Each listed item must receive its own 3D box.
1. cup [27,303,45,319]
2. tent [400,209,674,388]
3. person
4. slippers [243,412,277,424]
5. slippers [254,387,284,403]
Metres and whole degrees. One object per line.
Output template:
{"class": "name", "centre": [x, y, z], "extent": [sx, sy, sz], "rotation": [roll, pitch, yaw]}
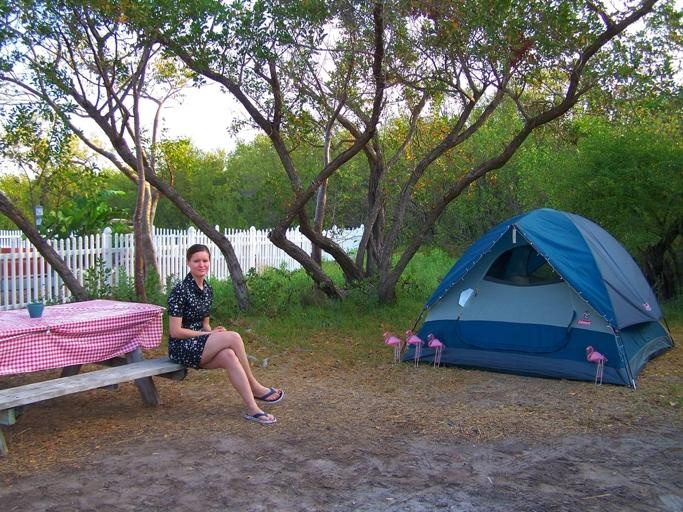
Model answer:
{"class": "cup", "centre": [-3.160, 0.572, 6.051], "extent": [0.145, 0.156, 0.161], "rotation": [-2, -9, 20]}
{"class": "tent", "centre": [2.762, 0.465, 8.088], "extent": [3.382, 2.178, 1.903], "rotation": [1, 7, 7]}
{"class": "person", "centre": [-1.305, 0.946, 6.497], "extent": [1.161, 1.578, 0.611], "rotation": [2, 8, 13]}
{"class": "slippers", "centre": [-0.854, 1.714, 6.231], "extent": [0.220, 0.062, 0.125], "rotation": [0, 4, 28]}
{"class": "slippers", "centre": [-0.815, 1.632, 6.785], "extent": [0.278, 0.081, 0.157], "rotation": [-6, 20, -14]}
